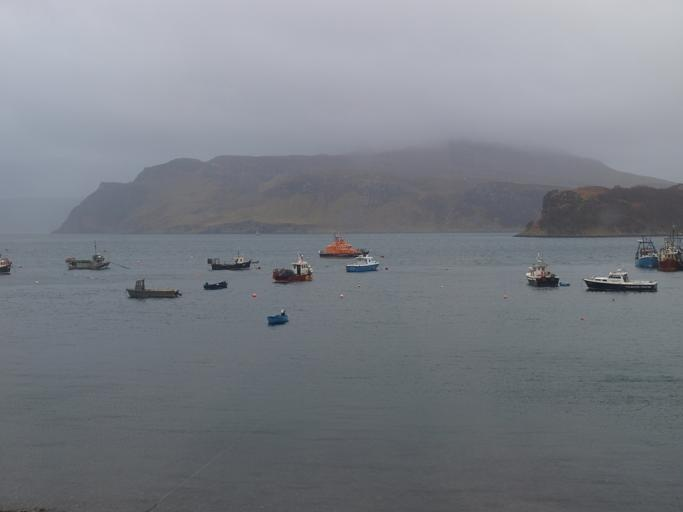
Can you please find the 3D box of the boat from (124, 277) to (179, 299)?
[{"bbox_3d":[-13.985,2.572,71.876,3.535,1.159,3.828,-1,5,-17],"label":"boat"}]

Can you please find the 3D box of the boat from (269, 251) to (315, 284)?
[{"bbox_3d":[-4.330,1.642,88.294,1.991,3.199,6.125,7,9,36],"label":"boat"}]

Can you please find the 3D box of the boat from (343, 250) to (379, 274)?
[{"bbox_3d":[2.539,0.977,101.891,1.832,2.237,4.830,-1,-4,24],"label":"boat"}]

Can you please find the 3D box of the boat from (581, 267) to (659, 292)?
[{"bbox_3d":[21.664,2.002,76.664,4.749,1.495,6.558,1,5,5],"label":"boat"}]

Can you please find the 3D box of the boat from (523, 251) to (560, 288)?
[{"bbox_3d":[16.661,1.715,81.230,2.415,3.058,6.659,1,3,5],"label":"boat"}]

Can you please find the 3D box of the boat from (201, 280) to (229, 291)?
[{"bbox_3d":[-10.313,2.563,78.607,1.683,0.595,0.883,-4,4,2],"label":"boat"}]

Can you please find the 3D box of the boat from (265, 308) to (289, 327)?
[{"bbox_3d":[-4.029,3.953,60.468,0.748,0.841,2.403,-1,-4,17],"label":"boat"}]
